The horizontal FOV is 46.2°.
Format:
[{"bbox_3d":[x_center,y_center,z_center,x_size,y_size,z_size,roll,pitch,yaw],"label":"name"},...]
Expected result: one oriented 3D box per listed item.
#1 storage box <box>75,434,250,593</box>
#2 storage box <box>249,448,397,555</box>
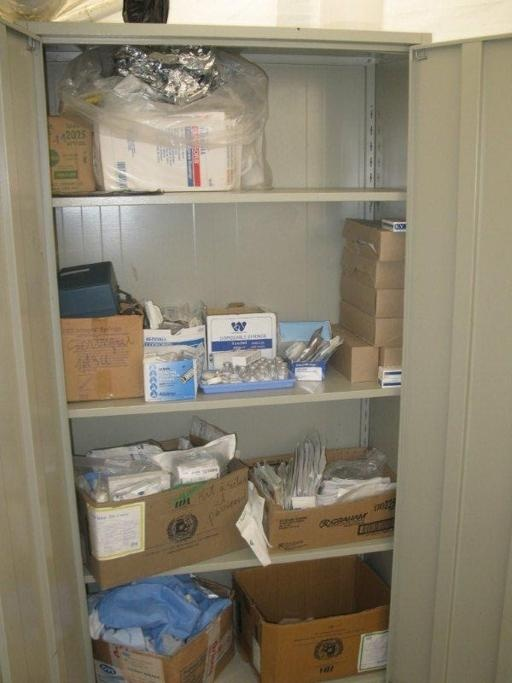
[{"bbox_3d":[-0.200,0.477,1.661,0.456,0.209,0.350,-10,-2,-18],"label":"storage box"},{"bbox_3d":[0.251,0.506,1.830,0.388,0.119,0.375,-12,-3,17],"label":"storage box"}]
